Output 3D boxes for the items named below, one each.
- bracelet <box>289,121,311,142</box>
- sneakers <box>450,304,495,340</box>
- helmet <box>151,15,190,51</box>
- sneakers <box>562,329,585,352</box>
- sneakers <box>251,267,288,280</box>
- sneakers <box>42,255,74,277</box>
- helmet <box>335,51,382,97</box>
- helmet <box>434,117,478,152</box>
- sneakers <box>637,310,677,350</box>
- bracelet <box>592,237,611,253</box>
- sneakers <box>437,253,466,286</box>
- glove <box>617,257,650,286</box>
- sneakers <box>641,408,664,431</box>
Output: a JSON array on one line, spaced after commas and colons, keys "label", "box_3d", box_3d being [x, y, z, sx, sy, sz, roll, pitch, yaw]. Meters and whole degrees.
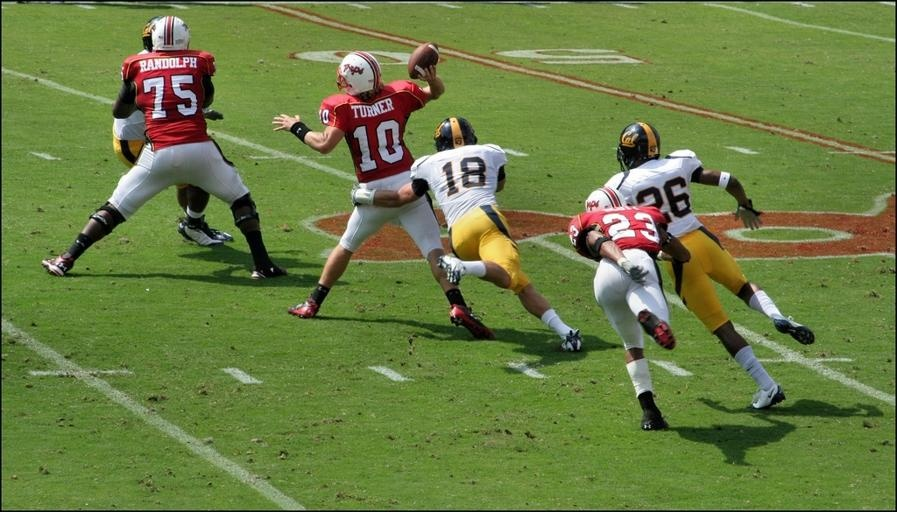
[{"label": "bracelet", "box_3d": [-1.755, -1.476, 13.734, 0.253, 0.118, 0.314, 31, -7, -28]}, {"label": "sneakers", "box_3d": [0.264, 0.785, 13.503, 0.559, 0.174, 0.213, 30, 44, -14]}, {"label": "helmet", "box_3d": [-3.461, -2.781, 14.453, 0.499, 0.344, 0.509, -2, 28, -12]}, {"label": "sneakers", "box_3d": [1.404, 0.975, 13.206, 0.266, 0.208, 0.286, 1, 10, -5]}, {"label": "sneakers", "box_3d": [-2.259, 0.226, 14.599, 0.472, 0.131, 0.141, -4, 15, -14]}, {"label": "sneakers", "box_3d": [-4.807, 0.136, 14.386, 0.560, 0.151, 0.247, 13, 29, 22]}, {"label": "helmet", "box_3d": [-1.053, -2.121, 13.629, 0.725, 0.489, 0.388, -13, 63, -8]}, {"label": "helmet", "box_3d": [0.070, -1.450, 13.691, 0.491, 0.330, 0.474, -5, 12, -5]}, {"label": "sneakers", "box_3d": [2.073, 0.730, 11.642, 0.541, 0.192, 0.259, 39, 18, 34]}, {"label": "bracelet", "box_3d": [1.562, -0.117, 11.887, 0.106, 0.148, 0.130, -6, 25, -40]}, {"label": "sneakers", "box_3d": [0.096, 0.161, 12.616, 0.265, 0.324, 0.142, 10, 42, 43]}, {"label": "glove", "box_3d": [1.809, 0.159, 11.635, 0.297, 0.089, 0.269, 23, -14, 33]}, {"label": "sneakers", "box_3d": [2.127, 1.704, 12.077, 0.336, 0.219, 0.185, -7, 5, 4]}]
